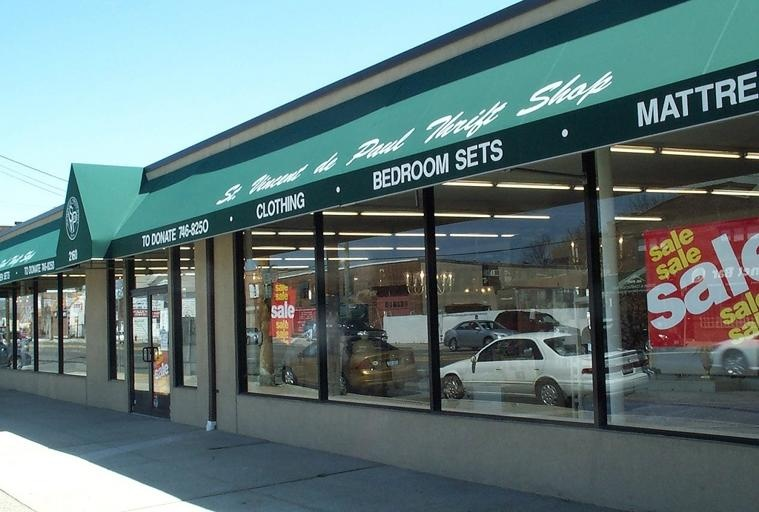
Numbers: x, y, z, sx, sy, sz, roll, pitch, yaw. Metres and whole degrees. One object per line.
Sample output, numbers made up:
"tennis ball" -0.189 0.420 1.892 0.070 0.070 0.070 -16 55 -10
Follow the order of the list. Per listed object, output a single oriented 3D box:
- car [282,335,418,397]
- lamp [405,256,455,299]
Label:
"car" -0.370 1.821 11.361 0.901 0.718 2.099 2 -1 -40
"lamp" 0.749 0.319 10.353 0.631 0.338 0.525 -6 -9 37
